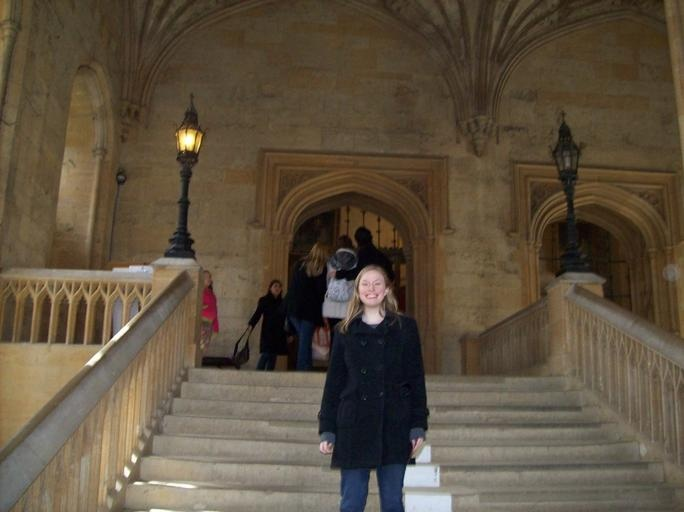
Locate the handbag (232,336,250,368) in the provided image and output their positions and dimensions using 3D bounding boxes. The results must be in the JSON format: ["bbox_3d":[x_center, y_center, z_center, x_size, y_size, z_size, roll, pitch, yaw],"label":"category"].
[{"bbox_3d":[-1.358,1.304,8.507,0.195,0.416,0.696,3,-6,-10],"label":"handbag"}]

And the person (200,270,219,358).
[{"bbox_3d":[-1.815,0.742,8.644,0.206,1.097,0.937,3,-6,-12],"label":"person"}]

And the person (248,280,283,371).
[{"bbox_3d":[-1.062,0.974,9.110,0.528,1.341,1.296,3,-6,-8],"label":"person"}]
